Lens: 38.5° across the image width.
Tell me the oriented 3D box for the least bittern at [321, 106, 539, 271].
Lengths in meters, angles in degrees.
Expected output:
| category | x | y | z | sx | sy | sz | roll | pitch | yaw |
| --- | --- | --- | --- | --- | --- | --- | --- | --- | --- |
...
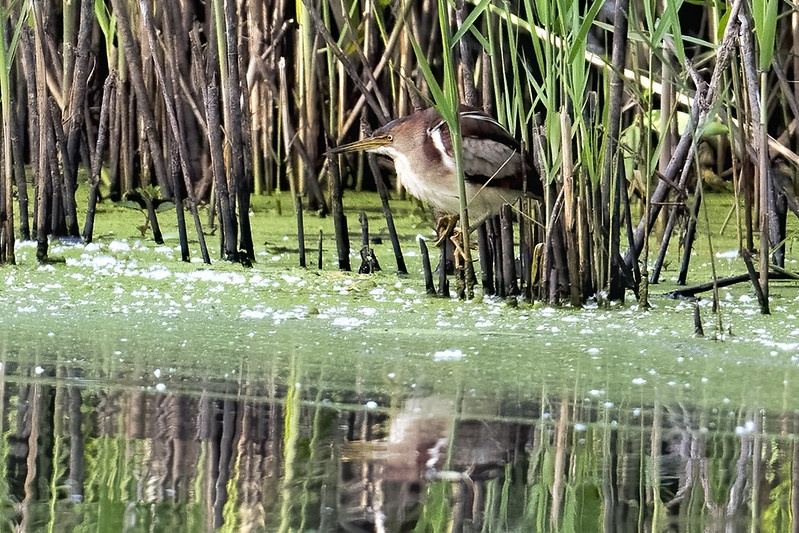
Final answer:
| category | x | y | z | sx | sy | sz | roll | pitch | yaw |
| --- | --- | --- | --- | --- | --- | --- | --- | --- | --- |
| least bittern | 0.189 | -0.300 | 4.362 | 0.666 | 0.604 | 0.296 | 0 | 3 | 36 |
